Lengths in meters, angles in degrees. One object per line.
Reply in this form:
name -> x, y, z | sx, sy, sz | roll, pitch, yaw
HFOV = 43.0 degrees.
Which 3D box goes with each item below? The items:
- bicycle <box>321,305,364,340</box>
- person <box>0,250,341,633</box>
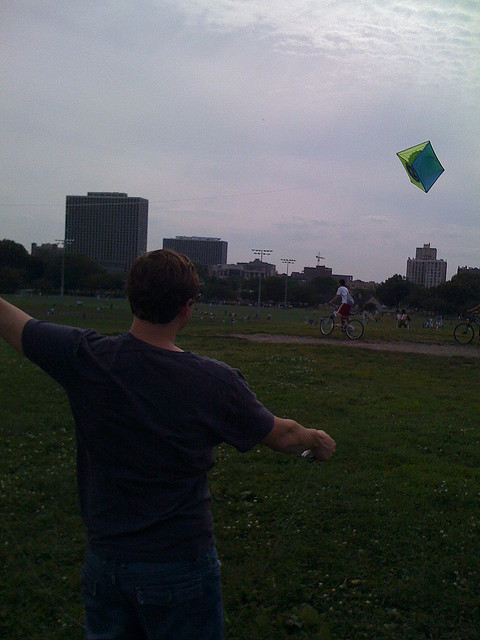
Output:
bicycle -> 3.718, 0.182, 20.936 | 0.833, 1.025, 1.711 | -2, -14, 42
person -> -0.391, 0.495, 2.613 | 1.216, 1.578, 0.574 | -6, 5, 4
